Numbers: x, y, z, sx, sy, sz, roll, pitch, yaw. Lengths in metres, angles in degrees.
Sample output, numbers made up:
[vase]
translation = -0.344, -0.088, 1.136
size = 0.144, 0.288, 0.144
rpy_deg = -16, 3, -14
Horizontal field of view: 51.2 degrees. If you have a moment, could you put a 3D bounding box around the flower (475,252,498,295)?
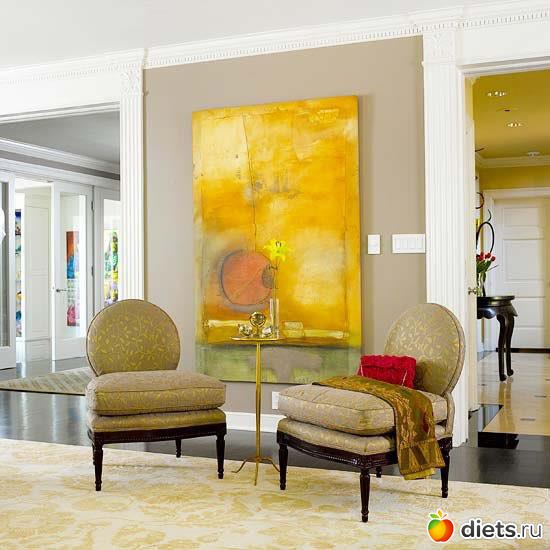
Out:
[flower]
translation = 2.217, -0.037, 6.192
size = 0.230, 0.386, 0.244
rpy_deg = 10, 6, 38

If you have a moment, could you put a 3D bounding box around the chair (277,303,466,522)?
[chair]
translation = 0.341, 0.601, 2.951
size = 0.907, 1.144, 0.814
rpy_deg = 6, -7, -36
